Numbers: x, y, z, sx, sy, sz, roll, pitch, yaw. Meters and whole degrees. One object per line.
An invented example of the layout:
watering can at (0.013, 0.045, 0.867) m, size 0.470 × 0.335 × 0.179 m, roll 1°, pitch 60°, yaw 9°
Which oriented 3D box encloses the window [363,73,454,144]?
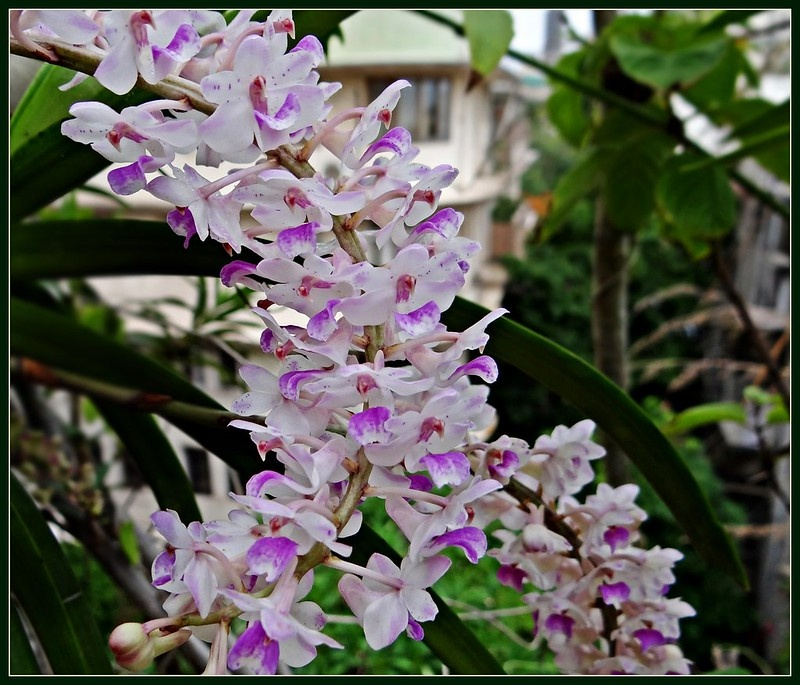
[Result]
window at (0.023, -0.788, 3.853) m, size 0.399 × 0.303 × 0.030 m, roll -11°, pitch 22°, yaw -37°

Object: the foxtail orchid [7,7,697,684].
foxtail orchid at (-0.056, 0.008, 1.150) m, size 0.492 × 0.694 × 0.240 m, roll -33°, pitch 5°, yaw 3°
